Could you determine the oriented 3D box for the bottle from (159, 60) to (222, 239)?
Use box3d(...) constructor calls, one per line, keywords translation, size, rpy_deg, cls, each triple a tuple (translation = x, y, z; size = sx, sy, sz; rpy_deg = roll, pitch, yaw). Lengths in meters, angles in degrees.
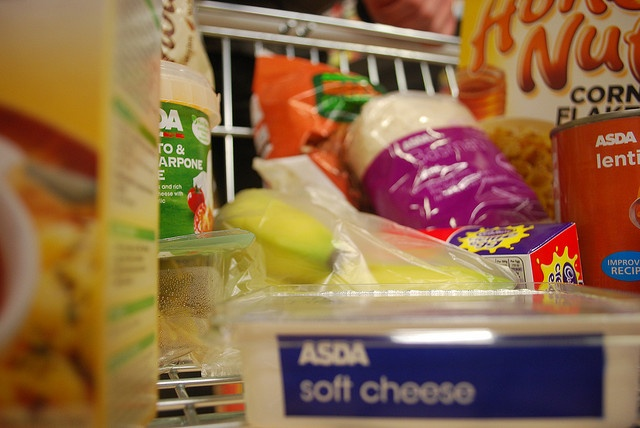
box3d(translation=(-0.147, -0.076, 0.668), size=(0.049, 0.209, 0.133), rpy_deg=(-6, -6, 17), cls="bottle")
